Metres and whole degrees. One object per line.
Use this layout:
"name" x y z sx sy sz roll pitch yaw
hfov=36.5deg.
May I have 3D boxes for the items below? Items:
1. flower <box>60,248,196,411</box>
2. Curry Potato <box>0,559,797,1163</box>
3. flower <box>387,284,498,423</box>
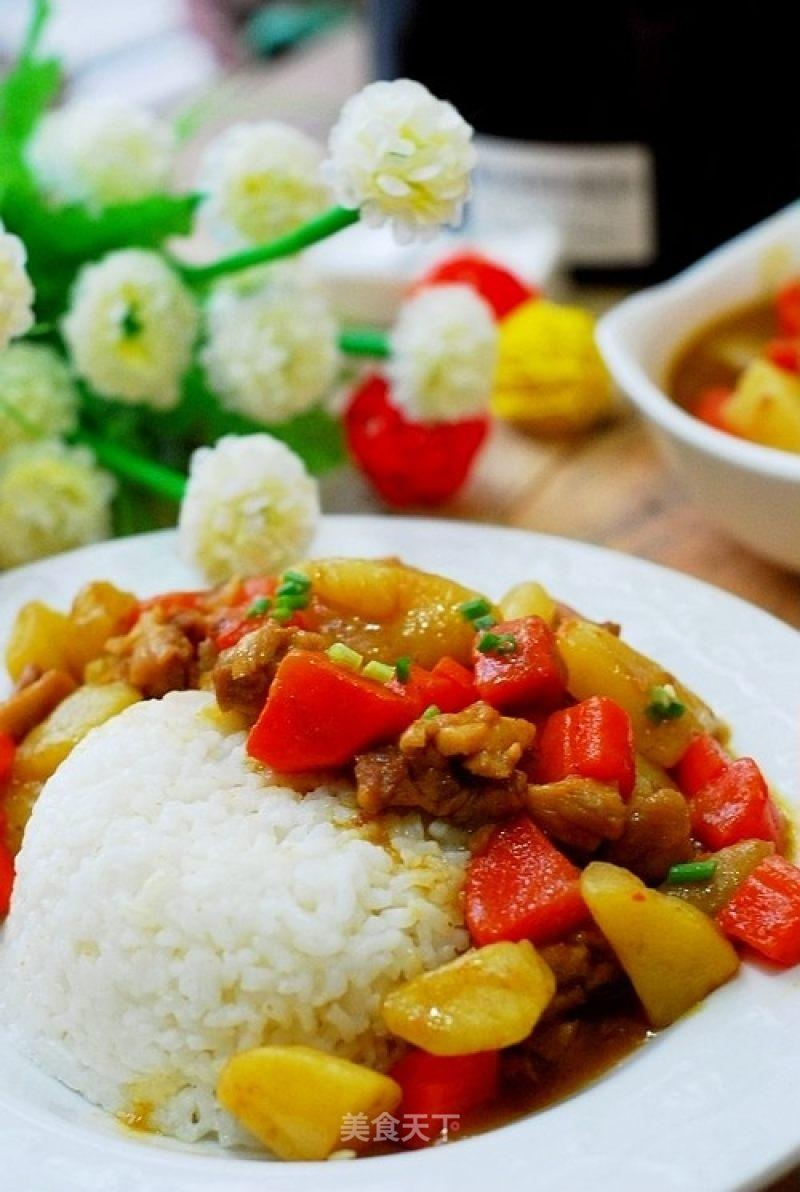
"flower" -0.440 -0.429 1.931 0.074 0.284 0.250 16 71 19
"Curry Potato" -0.002 0.283 1.293 0.830 0.258 0.631 -1 23 -4
"flower" 0.079 -0.397 2.167 0.195 0.306 0.241 -1 48 8
